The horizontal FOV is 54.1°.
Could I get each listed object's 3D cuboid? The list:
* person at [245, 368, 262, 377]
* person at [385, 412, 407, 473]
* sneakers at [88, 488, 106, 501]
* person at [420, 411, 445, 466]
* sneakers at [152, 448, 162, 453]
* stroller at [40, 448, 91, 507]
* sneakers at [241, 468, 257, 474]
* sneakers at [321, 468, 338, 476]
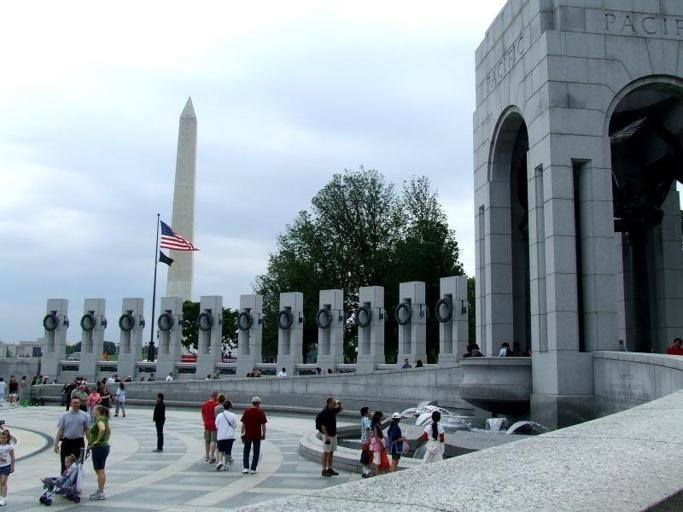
[{"bbox_3d":[-4.565,6.154,35.063,0.643,0.349,0.871,-1,-10,-1],"label":"person"},{"bbox_3d":[1.080,3.753,13.484,0.392,1.075,0.880,-11,-10,2],"label":"person"},{"bbox_3d":[-4.552,4.430,12.413,0.343,0.174,0.153,-2,-10,21],"label":"sneakers"},{"bbox_3d":[1.755,3.567,12.635,0.427,1.289,0.438,2,9,14],"label":"person"},{"bbox_3d":[-4.944,5.179,17.823,0.273,0.123,0.094,1,-7,18],"label":"sneakers"},{"bbox_3d":[-5.069,4.117,12.260,0.839,1.047,0.716,8,-22,-21],"label":"stroller"},{"bbox_3d":[-2.022,4.692,14.564,0.327,0.147,0.121,0,-8,-4],"label":"sneakers"},{"bbox_3d":[-0.242,4.617,14.278,0.383,0.168,0.146,1,-5,-10],"label":"sneakers"}]
